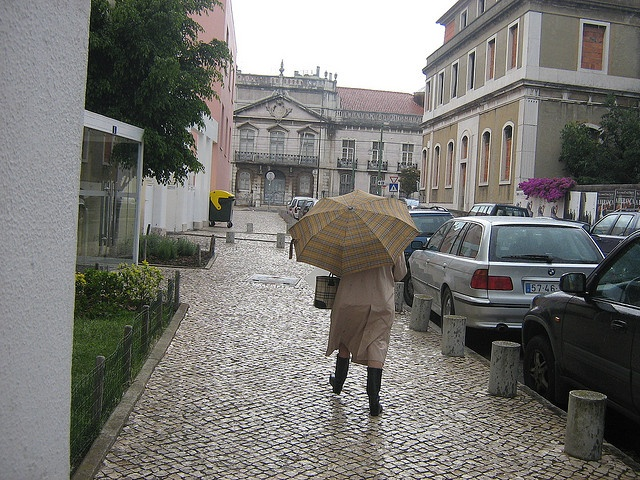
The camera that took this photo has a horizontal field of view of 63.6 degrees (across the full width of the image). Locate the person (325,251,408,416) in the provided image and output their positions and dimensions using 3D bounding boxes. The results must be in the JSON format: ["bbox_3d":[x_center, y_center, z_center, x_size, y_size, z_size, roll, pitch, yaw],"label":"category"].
[{"bbox_3d":[0.461,0.919,5.408,0.772,1.622,0.517,3,4,13],"label":"person"}]

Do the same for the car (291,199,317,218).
[{"bbox_3d":[-1.436,-2.694,43.537,1.865,1.911,3.664,-1,14,-1],"label":"car"}]

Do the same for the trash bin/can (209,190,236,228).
[{"bbox_3d":[-5.887,-1.845,30.882,1.388,2.183,1.386,2,4,-14],"label":"trash bin/can"}]

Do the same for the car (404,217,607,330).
[{"bbox_3d":[2.673,0.412,8.407,1.561,1.300,3.667,0,6,-8],"label":"car"}]

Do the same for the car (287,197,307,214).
[{"bbox_3d":[-2.103,-3.231,48.801,1.661,1.707,3.096,-1,16,-8],"label":"car"}]

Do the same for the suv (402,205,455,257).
[{"bbox_3d":[2.869,-0.073,13.792,1.276,1.277,2.369,-1,8,-4],"label":"suv"}]

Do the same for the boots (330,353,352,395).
[{"bbox_3d":[0.199,1.468,5.692,0.105,0.311,0.226,9,18,-25],"label":"boots"}]

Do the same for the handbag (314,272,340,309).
[{"bbox_3d":[0.056,0.525,5.618,0.211,0.432,0.313,6,-1,-27],"label":"handbag"}]

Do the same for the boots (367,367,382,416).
[{"bbox_3d":[0.553,1.519,5.240,0.166,0.475,0.189,3,4,7],"label":"boots"}]
